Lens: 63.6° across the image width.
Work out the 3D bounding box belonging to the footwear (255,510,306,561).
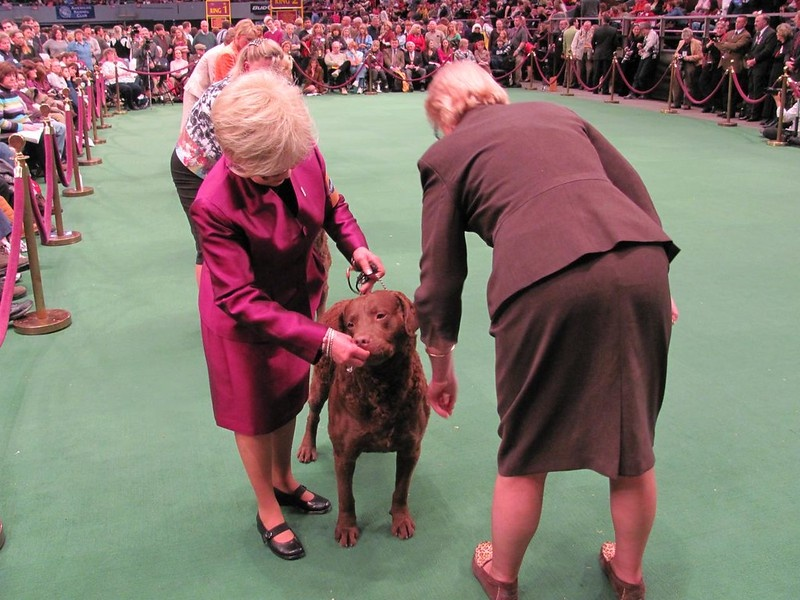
[{"bbox_3d":[-0.601,1.134,3.109,0.159,0.120,0.340,-7,18,-41],"label":"footwear"}]

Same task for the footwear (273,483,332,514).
[{"bbox_3d":[-0.489,1.038,3.342,0.307,0.129,0.126,3,20,5],"label":"footwear"}]

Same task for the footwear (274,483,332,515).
[{"bbox_3d":[-0.478,1.039,3.279,0.307,0.129,0.127,4,23,4],"label":"footwear"}]

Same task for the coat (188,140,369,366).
[{"bbox_3d":[-0.518,-0.233,2.834,0.618,0.799,0.758,7,22,17],"label":"coat"}]
